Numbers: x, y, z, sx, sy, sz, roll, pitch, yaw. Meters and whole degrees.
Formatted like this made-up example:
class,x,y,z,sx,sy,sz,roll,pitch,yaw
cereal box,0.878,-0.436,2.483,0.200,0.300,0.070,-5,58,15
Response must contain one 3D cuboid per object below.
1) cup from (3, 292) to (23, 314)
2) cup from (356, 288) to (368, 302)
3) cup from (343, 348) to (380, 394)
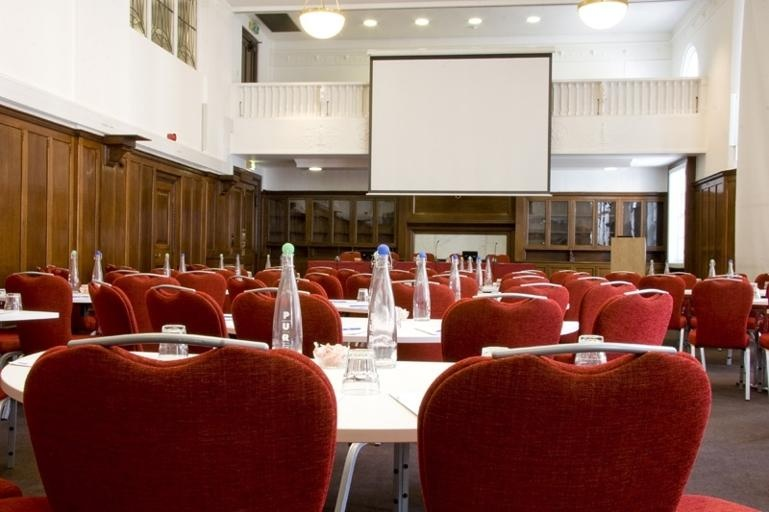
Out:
class,x,y,z,sx,sy,sz,roll,pitch,yaw
cup,-2.475,0.320,3.934,0.143,0.156,0.152,0,-4,0
cup,-0.145,0.279,4.264,0.089,0.111,0.094,1,-3,0
cup,-0.081,0.407,2.089,0.129,0.139,0.140,0,-5,0
